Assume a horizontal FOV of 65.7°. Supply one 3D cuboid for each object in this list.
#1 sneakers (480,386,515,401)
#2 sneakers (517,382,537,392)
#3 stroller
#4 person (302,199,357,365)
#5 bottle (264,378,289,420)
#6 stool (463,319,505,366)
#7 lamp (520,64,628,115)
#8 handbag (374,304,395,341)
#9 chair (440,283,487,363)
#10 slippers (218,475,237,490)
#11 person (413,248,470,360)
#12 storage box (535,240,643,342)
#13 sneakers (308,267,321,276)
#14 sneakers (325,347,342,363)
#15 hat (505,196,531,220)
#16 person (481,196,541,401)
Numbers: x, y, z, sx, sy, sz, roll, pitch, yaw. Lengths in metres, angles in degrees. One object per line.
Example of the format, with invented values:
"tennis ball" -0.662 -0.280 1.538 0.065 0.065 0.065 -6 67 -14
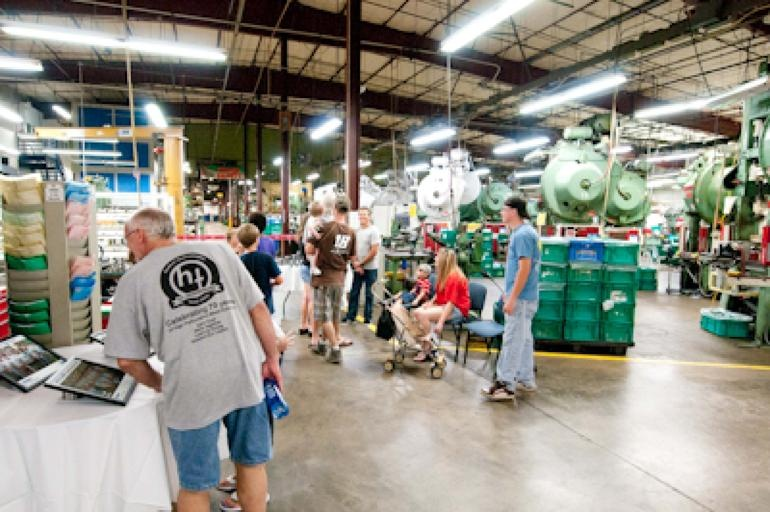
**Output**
"sneakers" 1.376 1.658 7.327 0.409 0.212 0.168 5 -8 1
"sneakers" 1.804 1.663 7.548 0.241 0.118 0.100 3 2 12
"stroller" 0.392 1.056 8.564 1.079 1.435 1.043 0 0 3
"person" -0.746 0.313 8.422 0.462 2.300 0.674 5 8 37
"bottle" -0.978 1.304 5.525 0.215 0.362 0.095 -28 -2 31
"stool" 1.451 1.139 8.310 0.558 0.704 0.711 -1 7 -10
"lamp" 3.838 -3.347 11.946 0.642 0.567 2.219 -3 7 -28
"handbag" 0.037 0.861 8.088 0.275 0.481 0.244 -9 39 -5
"chair" 1.300 0.927 8.435 0.581 0.988 0.615 8 10 -31
"slippers" -1.593 2.306 6.042 0.198 0.068 0.137 8 -2 -43
"person" 0.749 0.689 8.114 0.778 1.624 0.552 2 6 15
"storage box" 2.910 0.482 9.263 1.720 1.775 1.377 1 5 9
"sneakers" -0.960 0.208 8.212 0.143 0.120 0.073 3 7 20
"sneakers" -0.689 1.387 8.264 0.142 0.152 0.228 5 -10 -18
"hat" 1.655 -0.607 7.386 0.253 0.307 0.218 6 18 26
"person" 1.575 0.684 7.331 0.655 2.150 0.444 1 6 6
